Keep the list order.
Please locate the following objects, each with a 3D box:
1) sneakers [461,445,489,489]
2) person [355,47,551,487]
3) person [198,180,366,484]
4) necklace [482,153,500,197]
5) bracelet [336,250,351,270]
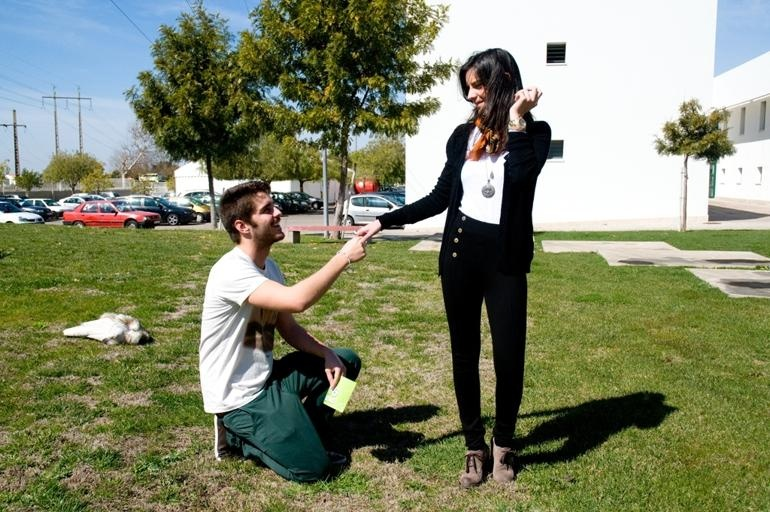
[{"bbox_3d":[0.720,1.704,4.616,0.131,0.168,0.401,-6,-4,19],"label":"sneakers"},{"bbox_3d":[0.733,0.116,4.545,1.008,3.377,0.567,1,10,14],"label":"person"},{"bbox_3d":[-0.903,0.594,4.713,1.233,2.365,0.641,-2,10,-3],"label":"person"},{"bbox_3d":[0.786,-0.589,4.415,0.101,0.309,0.070,0,10,8],"label":"necklace"},{"bbox_3d":[-0.323,0.035,4.501,0.137,0.193,0.075,0,4,-20],"label":"bracelet"}]
